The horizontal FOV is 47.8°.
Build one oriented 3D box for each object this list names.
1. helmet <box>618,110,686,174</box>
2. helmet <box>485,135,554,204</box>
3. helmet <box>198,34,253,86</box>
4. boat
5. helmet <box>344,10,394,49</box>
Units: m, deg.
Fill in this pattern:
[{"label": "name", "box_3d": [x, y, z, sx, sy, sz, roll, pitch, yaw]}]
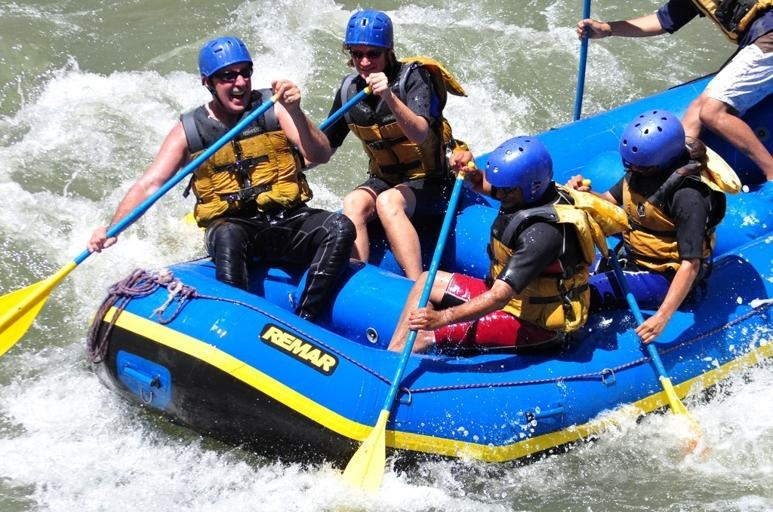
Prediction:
[{"label": "helmet", "box_3d": [1.972, -0.873, 6.497, 0.526, 0.396, 0.362, -26, 41, -12]}, {"label": "helmet", "box_3d": [0.946, -0.647, 6.301, 0.552, 0.416, 0.414, -25, 35, -25]}, {"label": "helmet", "box_3d": [-1.238, -1.559, 6.914, 0.401, 0.354, 0.489, -13, 22, -16]}, {"label": "boat", "box_3d": [0.674, 0.260, 6.620, 4.182, 0.826, 2.488, -26, 36, -34]}, {"label": "helmet", "box_3d": [-0.124, -1.794, 6.992, 0.293, 0.356, 0.263, 7, 80, 7]}]
